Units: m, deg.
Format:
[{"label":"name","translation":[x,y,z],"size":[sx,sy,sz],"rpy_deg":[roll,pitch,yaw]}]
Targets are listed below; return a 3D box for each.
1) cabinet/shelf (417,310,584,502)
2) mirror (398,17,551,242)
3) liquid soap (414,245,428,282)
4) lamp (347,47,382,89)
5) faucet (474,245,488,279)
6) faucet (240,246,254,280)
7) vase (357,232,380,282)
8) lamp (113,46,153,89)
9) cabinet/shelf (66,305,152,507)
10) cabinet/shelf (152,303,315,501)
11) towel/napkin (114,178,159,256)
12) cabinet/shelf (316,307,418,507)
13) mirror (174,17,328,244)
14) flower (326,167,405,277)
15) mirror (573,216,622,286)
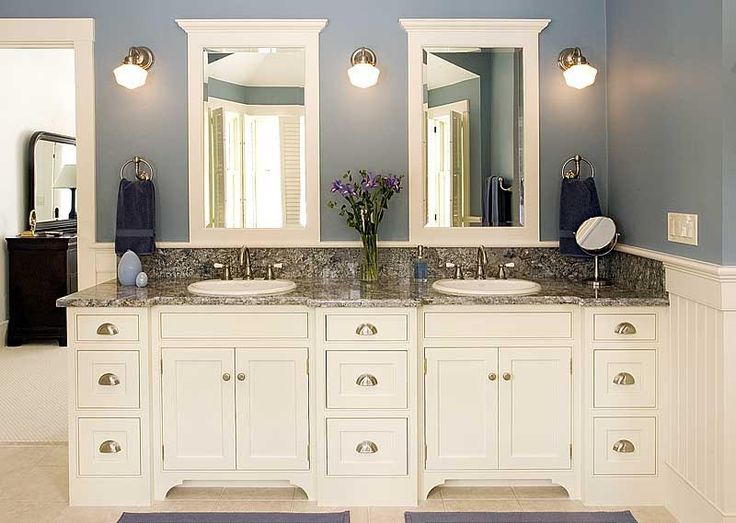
[{"label":"cabinet/shelf","translation":[0.714,0.625,4.067],"size":[0.877,1.233,0.653],"rpy_deg":[-2,19,3]},{"label":"mirror","translation":[0.629,-0.875,4.315],"size":[1.242,1.900,0.073],"rpy_deg":[0,-3,-2]},{"label":"liquid soap","translation":[0.319,0.002,4.297],"size":[0.080,0.199,0.117],"rpy_deg":[1,12,4]},{"label":"lamp","translation":[-0.022,-1.169,4.234],"size":[0.197,0.244,0.185],"rpy_deg":[0,12,-2]},{"label":"faucet","translation":[0.687,-0.006,4.279],"size":[0.068,0.186,0.170],"rpy_deg":[2,12,10]},{"label":"faucet","translation":[-0.725,0.006,4.229],"size":[0.063,0.184,0.099],"rpy_deg":[-4,12,-18]},{"label":"vase","translation":[0.008,-0.024,4.182],"size":[0.094,0.282,0.070],"rpy_deg":[0,12,-1]},{"label":"lamp","translation":[-1.395,-1.175,4.225],"size":[0.188,0.275,0.219],"rpy_deg":[4,8,19]},{"label":"cabinet/shelf","translation":[-1.353,0.776,4.016],"size":[0.495,1.201,0.568],"rpy_deg":[0,2,9]},{"label":"cabinet/shelf","translation":[-0.725,0.660,4.062],"size":[0.956,1.158,0.687],"rpy_deg":[3,17,0]},{"label":"towel/napkin","translation":[-1.416,-0.262,4.289],"size":[0.230,0.464,0.119],"rpy_deg":[1,12,4]},{"label":"cabinet/shelf","translation":[-0.009,0.776,3.732],"size":[0.521,1.035,0.181],"rpy_deg":[0,11,0]},{"label":"mirror","translation":[-0.713,-0.865,4.308],"size":[1.230,1.929,0.205],"rpy_deg":[0,-3,-3]},{"label":"flower","translation":[0.072,-0.260,4.354],"size":[0.559,0.809,0.561],"rpy_deg":[-3,5,-21]},{"label":"mirror","translation":[1.358,-0.075,4.191],"size":[0.364,0.549,0.201],"rpy_deg":[-1,-1,15]}]
